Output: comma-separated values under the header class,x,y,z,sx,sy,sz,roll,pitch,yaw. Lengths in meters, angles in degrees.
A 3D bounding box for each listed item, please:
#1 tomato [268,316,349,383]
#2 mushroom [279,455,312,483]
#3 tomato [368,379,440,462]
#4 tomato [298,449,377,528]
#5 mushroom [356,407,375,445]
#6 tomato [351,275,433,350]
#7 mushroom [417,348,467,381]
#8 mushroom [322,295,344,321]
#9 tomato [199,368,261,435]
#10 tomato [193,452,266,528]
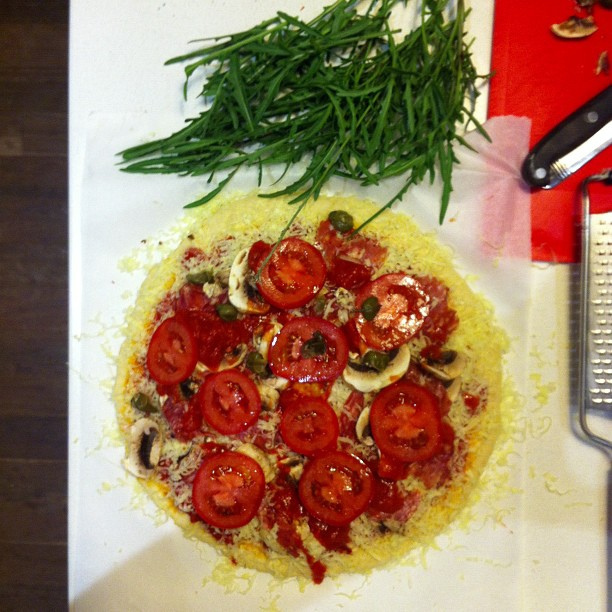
class,x,y,z,sx,sy,sz,roll,pitch,yaw
tomato,0.032,0.151,2.740,0.094,0.378,0.226,6,76,-46
mushroom,-0.038,0.590,2.785,0.092,0.028,0.087,-1,85,20
tomato,0.350,0.405,2.739,0.248,0.095,0.285,5,79,-2
tomato,0.104,0.644,2.732,0.257,0.088,0.261,12,78,-1
mushroom,0.209,0.434,2.770,0.043,0.112,0.109,4,93,35
tomato,0.318,0.026,2.738,0.293,0.071,0.258,19,88,-6
mushroom,0.497,0.214,2.797,0.144,0.045,0.113,30,69,21
mushroom,0.089,0.011,2.793,0.074,0.026,0.080,23,95,-21
tomato,-0.270,0.341,2.742,0.208,0.056,0.230,-14,80,-6
tomato,-0.277,0.656,2.742,0.247,0.073,0.266,8,78,-2
